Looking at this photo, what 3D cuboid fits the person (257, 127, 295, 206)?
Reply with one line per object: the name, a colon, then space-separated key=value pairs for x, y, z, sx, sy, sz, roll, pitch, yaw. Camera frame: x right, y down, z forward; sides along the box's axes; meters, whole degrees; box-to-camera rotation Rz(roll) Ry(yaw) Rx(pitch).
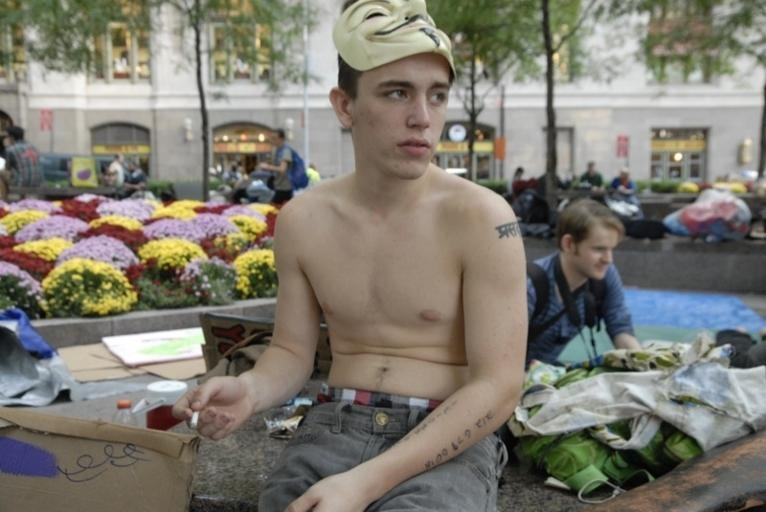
person: x=-1.933 y=-1.317 z=17.190 sx=0.526 sy=1.961 sz=0.636 roll=1 pitch=6 yaw=-12
